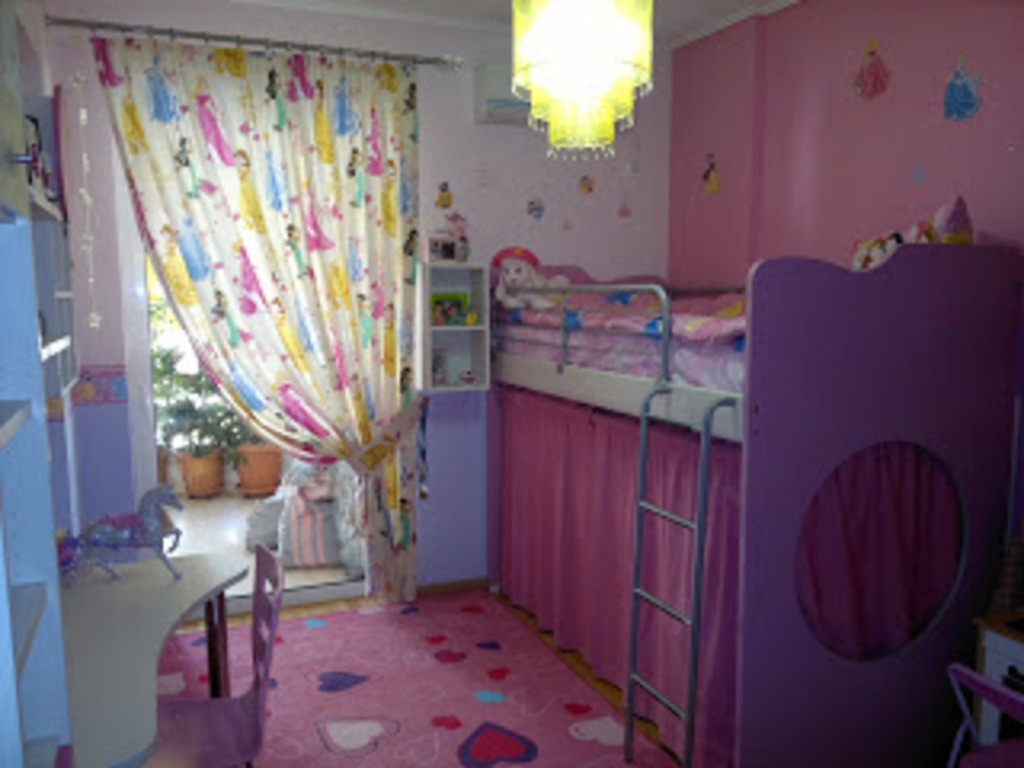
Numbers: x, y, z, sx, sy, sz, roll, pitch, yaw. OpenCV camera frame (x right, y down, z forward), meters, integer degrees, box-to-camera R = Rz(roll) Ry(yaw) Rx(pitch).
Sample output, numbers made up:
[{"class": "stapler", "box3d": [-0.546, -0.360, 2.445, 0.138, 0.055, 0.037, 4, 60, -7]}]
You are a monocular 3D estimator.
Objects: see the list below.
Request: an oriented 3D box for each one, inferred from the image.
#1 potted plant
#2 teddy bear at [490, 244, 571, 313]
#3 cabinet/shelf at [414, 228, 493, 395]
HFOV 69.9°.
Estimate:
[{"class": "potted plant", "box3d": [-1.776, 0.403, 4.439, 0.608, 0.506, 0.586, 0, -1, 42]}, {"class": "teddy bear", "box3d": [0.082, -0.627, 4.266, 0.366, 0.414, 0.485, -6, 15, 12]}, {"class": "cabinet/shelf", "box3d": [-0.339, -0.426, 4.262, 0.408, 0.897, 0.361, -1, 11, -10]}]
